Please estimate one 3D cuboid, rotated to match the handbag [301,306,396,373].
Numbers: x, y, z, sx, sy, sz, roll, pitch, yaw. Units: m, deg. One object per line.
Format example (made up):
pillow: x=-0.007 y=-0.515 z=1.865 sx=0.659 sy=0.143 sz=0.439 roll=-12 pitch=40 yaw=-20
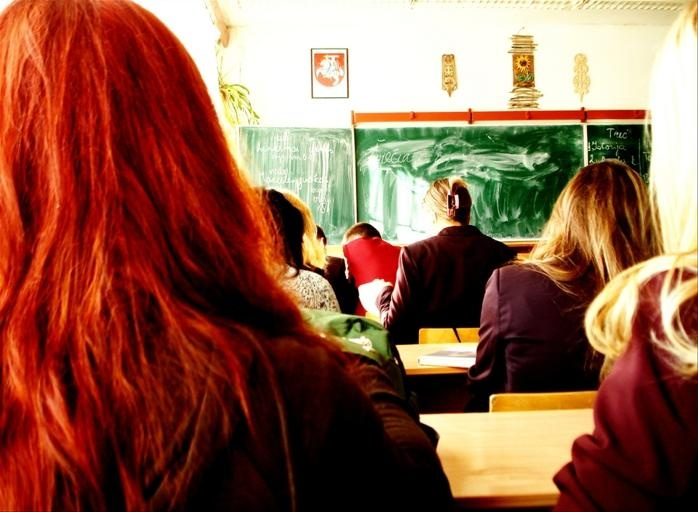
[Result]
handbag: x=-0.004 y=0.164 z=1.247 sx=0.115 sy=0.053 sz=0.156 roll=40 pitch=19 yaw=33
